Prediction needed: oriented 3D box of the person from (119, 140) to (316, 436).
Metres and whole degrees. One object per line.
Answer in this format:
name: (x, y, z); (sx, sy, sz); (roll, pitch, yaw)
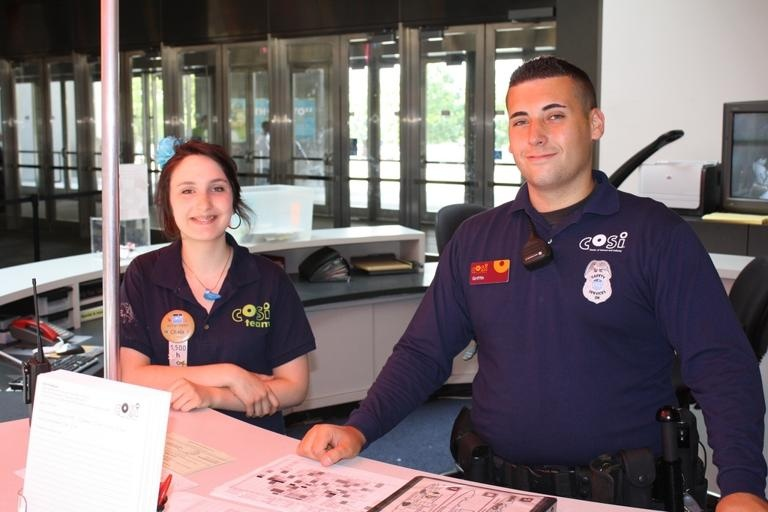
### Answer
person: (-0.710, 0.127, 2.320); (0.571, 1.161, 0.601); (3, 9, 42)

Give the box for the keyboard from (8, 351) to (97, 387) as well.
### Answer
keyboard: (-1.432, 0.494, 2.545); (0.352, 0.085, 0.265); (-5, 7, -19)

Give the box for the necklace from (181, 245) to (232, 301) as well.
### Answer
necklace: (-0.702, 0.076, 2.313); (0.201, 0.230, 0.023); (-8, -29, -2)

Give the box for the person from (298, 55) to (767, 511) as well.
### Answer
person: (0.493, 0.018, 1.753); (1.094, 1.264, 0.639); (0, 7, 21)
